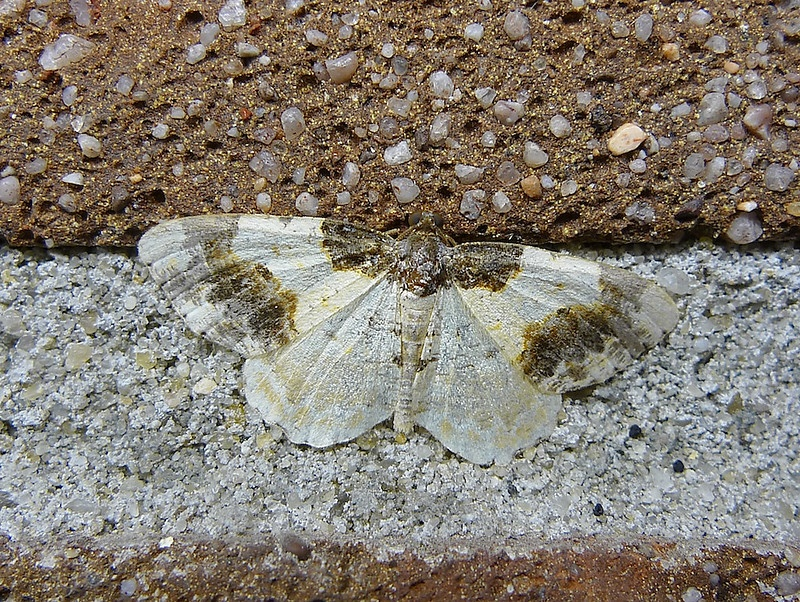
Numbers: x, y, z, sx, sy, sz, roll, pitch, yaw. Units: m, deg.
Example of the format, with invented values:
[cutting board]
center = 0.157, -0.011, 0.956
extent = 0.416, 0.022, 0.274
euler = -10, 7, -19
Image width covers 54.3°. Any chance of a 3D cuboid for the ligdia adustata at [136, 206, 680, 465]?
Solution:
[ligdia adustata]
center = 0.007, 0.126, 2.597
extent = 1.661, 0.301, 0.777
euler = 6, 86, 1
